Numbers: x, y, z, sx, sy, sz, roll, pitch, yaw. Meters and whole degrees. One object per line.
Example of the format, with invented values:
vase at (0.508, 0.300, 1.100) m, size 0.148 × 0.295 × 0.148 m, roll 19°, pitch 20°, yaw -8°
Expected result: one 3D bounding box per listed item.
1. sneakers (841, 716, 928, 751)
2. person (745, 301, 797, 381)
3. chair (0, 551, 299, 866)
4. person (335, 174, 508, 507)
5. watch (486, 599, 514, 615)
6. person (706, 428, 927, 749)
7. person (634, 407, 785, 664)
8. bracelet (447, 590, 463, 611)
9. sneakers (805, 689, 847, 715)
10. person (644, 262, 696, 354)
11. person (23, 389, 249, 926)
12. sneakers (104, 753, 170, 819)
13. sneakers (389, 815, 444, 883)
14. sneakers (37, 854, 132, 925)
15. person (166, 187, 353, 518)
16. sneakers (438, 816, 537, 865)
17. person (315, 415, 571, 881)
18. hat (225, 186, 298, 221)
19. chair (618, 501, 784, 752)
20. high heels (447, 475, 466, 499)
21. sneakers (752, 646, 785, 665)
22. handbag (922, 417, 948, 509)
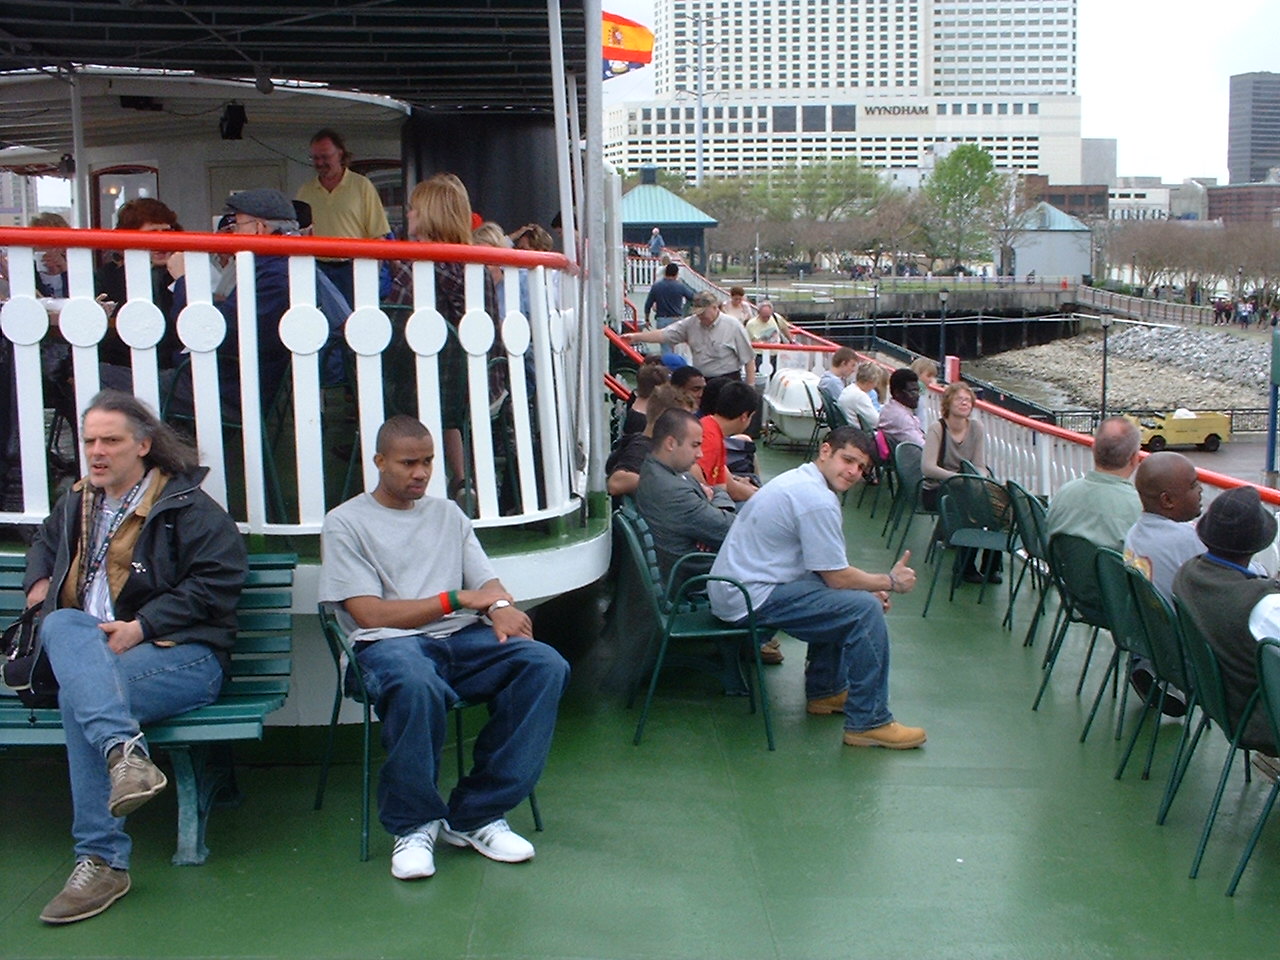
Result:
sneakers at (1.100, 1.150, 6.005) m, size 0.296 × 0.132 × 0.147 m, roll -1°, pitch 1°, yaw 1°
person at (1.612, -1.578, 16.393) m, size 0.502 × 1.342 × 0.712 m, roll -3°, pitch -14°, yaw -6°
chair at (-1.789, 0.810, 4.812) m, size 1.016 × 0.681 × 0.441 m, roll 1°, pitch 3°, yaw 1°
person at (-0.776, -0.487, 5.692) m, size 0.388 × 1.284 × 0.395 m, roll 18°, pitch 14°, yaw 4°
watch at (-0.537, 0.484, 5.102) m, size 0.072 × 0.071 × 0.048 m, roll -9°, pitch 47°, yaw -37°
person at (0.959, 0.427, 6.718) m, size 1.284 × 1.929 × 1.083 m, roll -2°, pitch 10°, yaw -2°
person at (0.489, 0.394, 6.748) m, size 0.578 × 1.420 × 0.786 m, roll 3°, pitch -4°, yaw -43°
bracelet at (-0.702, 0.462, 5.035) m, size 0.058 × 0.047 × 0.060 m, roll -8°, pitch 20°, yaw -23°
sneakers at (0.890, 1.067, 6.371) m, size 0.168 × 0.087 × 0.085 m, roll -11°, pitch -1°, yaw 19°
person at (0.380, -2.091, 17.042) m, size 0.627 × 1.419 × 0.420 m, roll -4°, pitch 36°, yaw -7°
person at (-1.786, 0.580, 4.668) m, size 0.772 × 1.656 × 0.881 m, roll -2°, pitch 12°, yaw -14°
sneakers at (-1.677, 0.999, 4.412) m, size 0.167 × 0.177 × 0.215 m, roll -5°, pitch 13°, yaw -25°
sneakers at (-0.822, 1.323, 4.829) m, size 0.170 × 0.162 × 0.241 m, roll -1°, pitch 12°, yaw -9°
sneakers at (-1.877, 1.387, 4.509) m, size 0.118 × 0.149 × 0.340 m, roll -1°, pitch -4°, yaw 13°
person at (-1.708, -0.494, 5.607) m, size 0.826 × 1.382 × 0.546 m, roll 13°, pitch 1°, yaw 17°
sneakers at (-0.567, 1.325, 4.957) m, size 0.344 × 0.156 × 0.143 m, roll 3°, pitch 0°, yaw 21°
person at (-0.722, 0.692, 4.987) m, size 0.686 × 1.345 × 0.837 m, roll -8°, pitch 15°, yaw -39°
hat at (-1.632, -1.163, 5.716) m, size 0.227 × 0.096 × 0.174 m, roll 10°, pitch 11°, yaw -7°
chair at (0.198, 0.647, 6.256) m, size 0.939 × 1.399 × 0.851 m, roll -2°, pitch 3°, yaw -1°
high heels at (-0.795, 0.049, 5.764) m, size 0.093 × 0.096 × 0.057 m, roll 0°, pitch 13°, yaw 0°
sneakers at (0.693, 0.938, 7.093) m, size 0.099 × 0.136 × 0.305 m, roll -1°, pitch -6°, yaw -1°
handbag at (1.968, -0.082, 8.992) m, size 0.245 × 0.508 × 0.124 m, roll 6°, pitch -2°, yaw -33°
